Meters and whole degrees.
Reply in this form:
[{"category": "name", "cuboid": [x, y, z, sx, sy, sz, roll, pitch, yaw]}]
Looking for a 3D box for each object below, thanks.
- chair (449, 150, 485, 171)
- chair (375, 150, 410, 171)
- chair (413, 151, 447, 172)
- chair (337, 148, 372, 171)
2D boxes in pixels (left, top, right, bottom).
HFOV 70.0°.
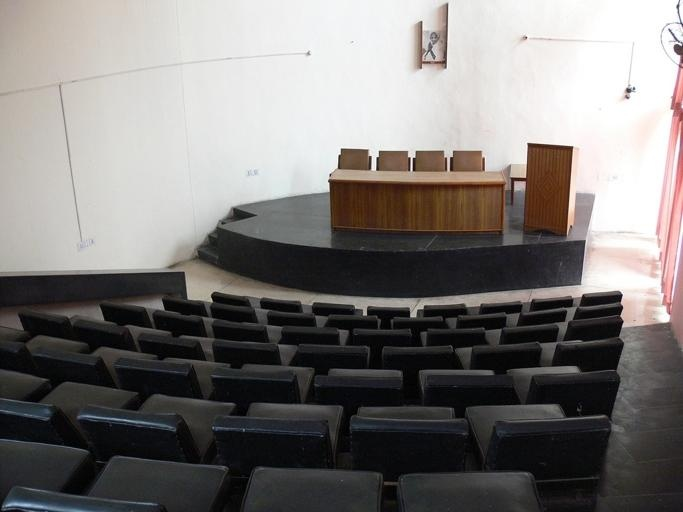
[{"category": "chair", "cuboid": [2.197, -1.683, 8.581, 0.535, 0.329, 1.204, 3, 13, 11]}, {"category": "chair", "cuboid": [0.911, -1.690, 8.626, 0.585, 0.617, 0.413, 0, 14, 3]}, {"category": "chair", "cuboid": [1.523, -1.646, 8.493, 0.453, 0.322, 0.483, 0, 16, 6]}, {"category": "chair", "cuboid": [0.255, -1.855, 8.893, 0.458, 0.488, 0.477, 6, 15, 9]}]
